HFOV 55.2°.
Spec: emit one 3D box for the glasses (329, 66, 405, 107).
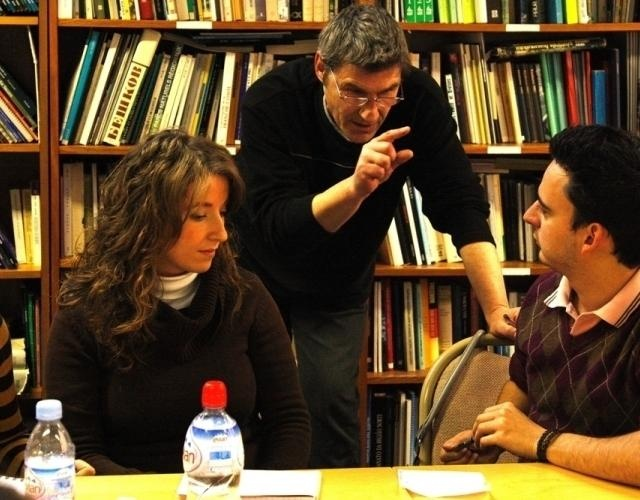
[{"bbox_3d":[0.128,-0.480,1.823,0.193,0.112,0.054,0,3,-3],"label":"glasses"}]
